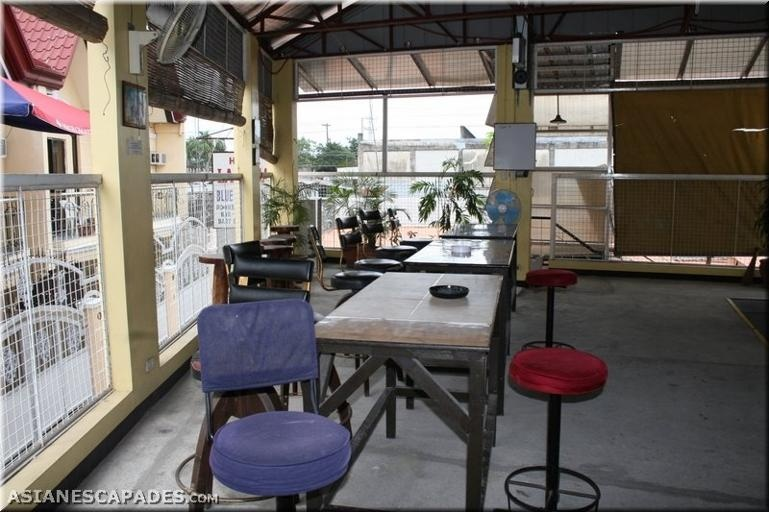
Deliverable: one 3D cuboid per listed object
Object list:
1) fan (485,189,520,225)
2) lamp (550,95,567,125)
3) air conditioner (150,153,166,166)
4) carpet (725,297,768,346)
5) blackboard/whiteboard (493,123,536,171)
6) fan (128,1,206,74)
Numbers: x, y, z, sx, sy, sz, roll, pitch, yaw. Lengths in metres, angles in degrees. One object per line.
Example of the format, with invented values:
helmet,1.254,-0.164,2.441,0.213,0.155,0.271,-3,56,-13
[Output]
fan,1.794,-0.754,8.395,0.527,0.500,0.253,7,15,26
lamp,3.452,-2.869,10.820,0.314,0.581,0.366,9,17,35
air conditioner,-6.793,-2.896,16.504,0.373,0.381,0.603,-6,15,-24
carpet,5.013,0.987,7.527,0.394,0.043,1.103,-5,10,21
blackboard/whiteboard,2.200,-1.816,9.235,0.775,0.758,0.187,0,9,15
fan,-1.832,-1.774,4.466,0.846,0.511,0.360,9,16,33
